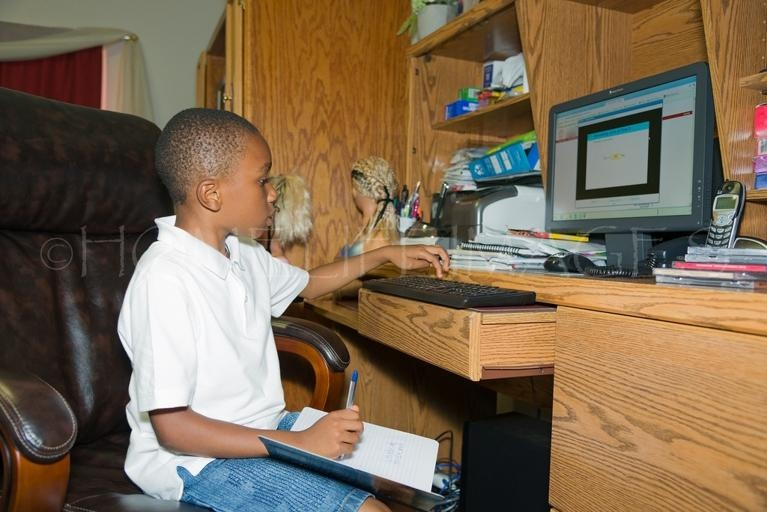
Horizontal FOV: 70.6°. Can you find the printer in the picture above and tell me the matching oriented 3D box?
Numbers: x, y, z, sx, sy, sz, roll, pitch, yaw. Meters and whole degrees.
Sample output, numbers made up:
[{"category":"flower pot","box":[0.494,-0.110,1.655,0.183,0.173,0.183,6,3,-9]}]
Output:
[{"category":"printer","box":[0.398,-0.162,1.987,0.299,0.195,0.359,-4,15,-5]}]

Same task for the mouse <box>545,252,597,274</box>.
[{"category":"mouse","box":[0.487,0.016,1.437,0.106,0.030,0.062,-1,3,-24]}]
